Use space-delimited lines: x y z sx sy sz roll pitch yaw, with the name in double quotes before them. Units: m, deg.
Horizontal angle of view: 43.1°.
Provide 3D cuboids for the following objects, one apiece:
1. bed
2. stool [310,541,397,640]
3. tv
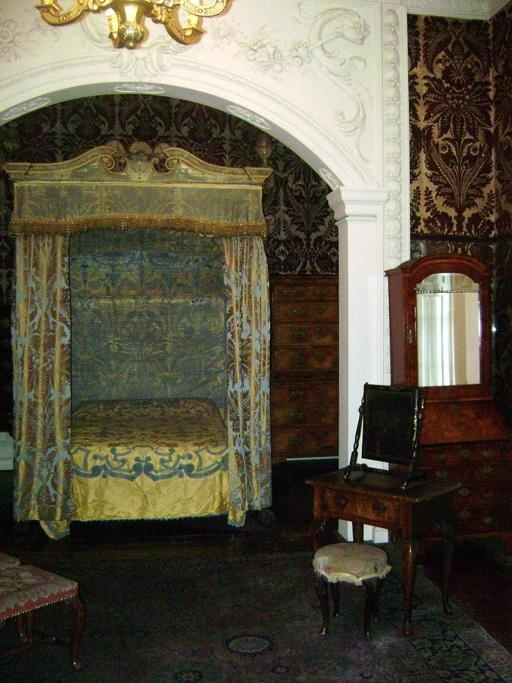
"bed" -0.874 0.947 5.274 1.237 0.786 1.601 -1 1 -10
"stool" 0.426 1.120 2.960 0.458 0.348 0.420 -1 -10 9
"tv" 0.719 0.446 3.424 0.045 0.411 0.368 7 -5 -41
